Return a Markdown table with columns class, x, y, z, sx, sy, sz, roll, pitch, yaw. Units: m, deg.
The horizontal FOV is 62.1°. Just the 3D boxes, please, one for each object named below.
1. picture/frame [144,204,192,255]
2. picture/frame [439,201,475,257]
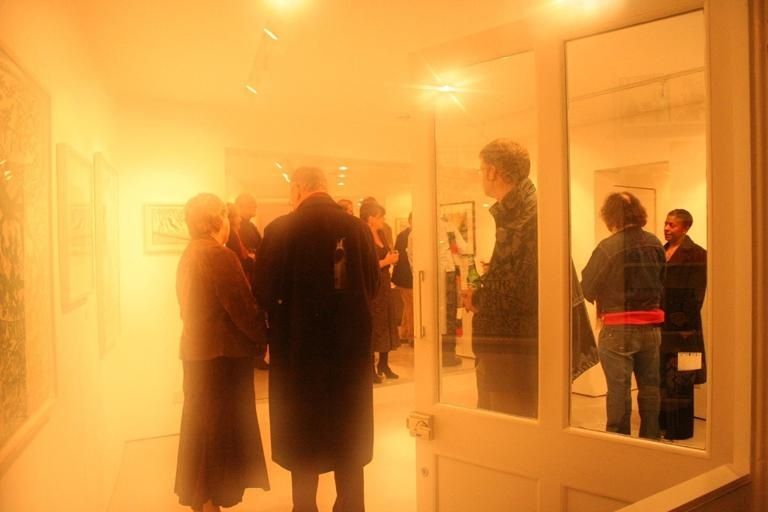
| class | x | y | z | sx | sy | sz | roll | pitch | yaw |
| --- | --- | --- | --- | --- | --- | --- | --- | --- | --- |
| picture/frame | -0.607 | -0.079 | 1.771 | 0.010 | 0.133 | 0.136 | 5 | 6 | 33 |
| picture/frame | 0.229 | -0.087 | 2.007 | 0.124 | 0.172 | 0.005 | -1 | 1 | 30 |
